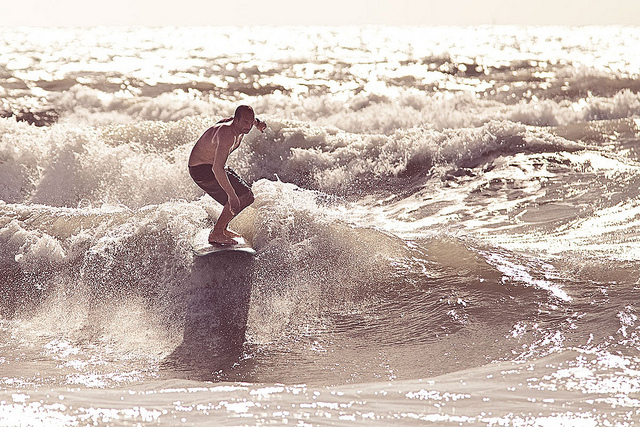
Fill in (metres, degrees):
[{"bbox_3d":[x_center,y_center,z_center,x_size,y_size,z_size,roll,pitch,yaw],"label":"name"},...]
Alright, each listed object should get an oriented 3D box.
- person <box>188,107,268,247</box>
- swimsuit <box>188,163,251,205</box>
[{"bbox_3d":[-0.697,-0.259,6.848,0.350,1.095,0.447,-12,18,-41],"label":"person"},{"bbox_3d":[-0.796,-0.237,6.894,0.468,0.155,0.255,30,20,-20],"label":"swimsuit"}]
